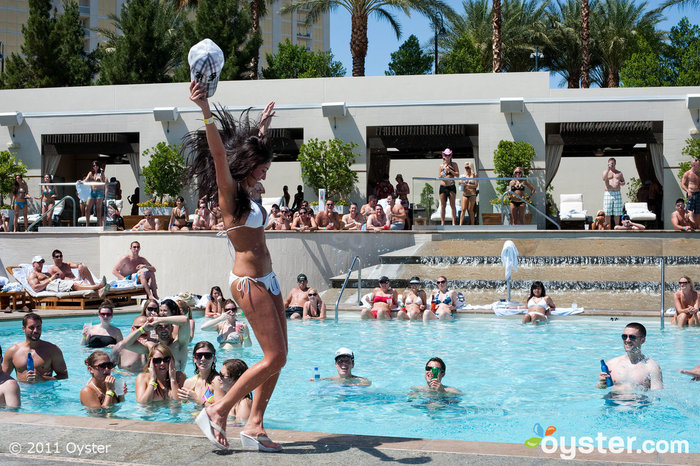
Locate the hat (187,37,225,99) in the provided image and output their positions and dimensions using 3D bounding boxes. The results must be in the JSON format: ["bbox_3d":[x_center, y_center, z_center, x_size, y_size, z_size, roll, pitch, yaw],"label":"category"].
[{"bbox_3d":[-2.183,-2.536,14.285,0.592,0.844,0.468,-5,10,-15],"label":"hat"}]

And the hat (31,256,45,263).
[{"bbox_3d":[-7.942,0.674,23.948,0.364,0.173,0.235,-7,-6,41],"label":"hat"}]

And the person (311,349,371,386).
[{"bbox_3d":[-0.098,2.524,17.959,1.062,0.704,0.466,2,11,3],"label":"person"}]

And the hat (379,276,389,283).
[{"bbox_3d":[0.849,1.117,22.379,0.134,0.150,0.182,18,-12,14],"label":"hat"}]

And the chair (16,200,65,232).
[{"bbox_3d":[-9.163,-0.366,27.465,1.772,0.995,1.219,0,2,-3],"label":"chair"}]

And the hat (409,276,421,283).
[{"bbox_3d":[1.582,1.112,22.116,0.150,0.143,0.196,-1,-3,-16],"label":"hat"}]

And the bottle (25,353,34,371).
[{"bbox_3d":[-5.927,2.389,17.382,0.147,0.290,0.295,-3,12,-18],"label":"bottle"}]

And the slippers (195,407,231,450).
[{"bbox_3d":[-2.024,2.983,14.136,0.248,0.683,0.368,-32,4,35],"label":"slippers"}]

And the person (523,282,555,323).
[{"bbox_3d":[4.383,1.580,21.438,0.680,0.766,0.903,4,11,12],"label":"person"}]

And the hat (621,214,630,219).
[{"bbox_3d":[7.836,-0.465,26.416,0.208,0.142,0.283,2,-1,10],"label":"hat"}]

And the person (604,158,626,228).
[{"bbox_3d":[7.434,-1.181,26.294,0.597,1.953,1.434,4,12,16],"label":"person"}]

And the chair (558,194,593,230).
[{"bbox_3d":[7.430,-0.715,31.008,0.957,1.072,1.555,-2,7,8],"label":"chair"}]

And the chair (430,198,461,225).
[{"bbox_3d":[2.593,-0.555,25.648,0.564,0.684,0.283,4,12,0],"label":"chair"}]

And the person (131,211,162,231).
[{"bbox_3d":[-5.683,-0.255,26.333,0.676,0.637,0.769,0,-6,0],"label":"person"}]

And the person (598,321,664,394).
[{"bbox_3d":[5.405,2.435,17.882,1.358,1.477,0.939,2,0,27],"label":"person"}]

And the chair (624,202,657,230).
[{"bbox_3d":[9.341,-0.546,29.938,0.843,0.768,1.295,0,5,8],"label":"chair"}]

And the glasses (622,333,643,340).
[{"bbox_3d":[5.123,1.864,16.862,0.344,0.134,0.147,5,12,16],"label":"glasses"}]

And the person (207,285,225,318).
[{"bbox_3d":[-3.159,1.677,22.252,0.516,0.722,0.599,0,2,13],"label":"person"}]

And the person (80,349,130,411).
[{"bbox_3d":[-4.456,2.677,16.880,0.887,1.072,0.744,-9,0,-37],"label":"person"}]

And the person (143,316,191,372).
[{"bbox_3d":[-3.374,2.053,17.342,1.025,1.328,0.780,-4,-10,9],"label":"person"}]

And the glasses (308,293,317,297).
[{"bbox_3d":[-0.839,1.441,22.078,0.195,0.112,0.128,1,11,-2],"label":"glasses"}]

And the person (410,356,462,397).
[{"bbox_3d":[1.628,2.733,17.578,1.028,0.794,0.580,5,-3,6],"label":"person"}]

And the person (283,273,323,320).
[{"bbox_3d":[-1.200,1.549,22.502,0.784,0.992,0.949,1,2,17],"label":"person"}]

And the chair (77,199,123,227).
[{"bbox_3d":[-7.162,-0.584,27.811,0.741,0.714,1.187,0,-2,6],"label":"chair"}]

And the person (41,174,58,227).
[{"bbox_3d":[-8.606,-0.860,26.904,0.419,1.398,2.109,-2,12,-18],"label":"person"}]

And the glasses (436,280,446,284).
[{"bbox_3d":[2.169,1.145,21.851,0.165,0.088,0.092,4,11,14],"label":"glasses"}]

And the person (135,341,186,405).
[{"bbox_3d":[-3.462,2.588,17.067,0.869,1.019,0.635,-4,3,-28],"label":"person"}]

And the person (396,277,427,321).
[{"bbox_3d":[1.516,1.609,22.332,0.714,1.395,0.821,3,-24,12],"label":"person"}]

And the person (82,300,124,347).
[{"bbox_3d":[-5.081,1.911,19.289,0.850,1.076,0.697,3,-7,-19],"label":"person"}]

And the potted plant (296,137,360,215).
[{"bbox_3d":[-0.488,-1.884,30.810,2.345,2.616,2.130,0,-3,36],"label":"potted plant"}]

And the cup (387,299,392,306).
[{"bbox_3d":[0.982,1.632,22.235,0.151,0.163,0.115,-2,12,-14],"label":"cup"}]

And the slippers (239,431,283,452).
[{"bbox_3d":[-1.310,3.172,14.203,0.558,0.212,0.289,2,-1,4],"label":"slippers"}]

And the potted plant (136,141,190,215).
[{"bbox_3d":[-6.070,-2.021,31.308,1.388,1.635,1.201,7,23,39],"label":"potted plant"}]

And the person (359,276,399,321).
[{"bbox_3d":[0.696,1.827,22.237,0.731,1.557,1.003,2,2,27],"label":"person"}]

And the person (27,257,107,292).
[{"bbox_3d":[-6.965,1.064,23.108,1.880,0.758,0.817,3,14,9],"label":"person"}]

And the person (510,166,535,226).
[{"bbox_3d":[4.806,-0.895,26.116,0.715,1.294,0.447,-3,12,-19],"label":"person"}]

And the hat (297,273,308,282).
[{"bbox_3d":[-1.128,1.084,22.760,0.197,0.182,0.224,-2,-26,-5],"label":"hat"}]

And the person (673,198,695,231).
[{"bbox_3d":[9.031,-0.498,25.175,0.577,0.786,0.802,4,11,11],"label":"person"}]

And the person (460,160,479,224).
[{"bbox_3d":[3.315,-0.881,25.851,0.508,1.327,0.335,2,11,5],"label":"person"}]

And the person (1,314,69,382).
[{"bbox_3d":[-6.194,2.309,18.388,1.364,1.436,0.831,-1,-2,-24],"label":"person"}]

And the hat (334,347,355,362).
[{"bbox_3d":[-0.061,2.303,17.920,0.272,0.215,0.384,1,-16,11],"label":"hat"}]

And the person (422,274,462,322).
[{"bbox_3d":[2.110,1.703,21.908,0.709,1.311,0.802,-5,-8,40],"label":"person"}]

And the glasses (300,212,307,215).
[{"bbox_3d":[-1.246,-0.574,25.794,0.182,0.111,0.083,4,12,14],"label":"glasses"}]

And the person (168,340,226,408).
[{"bbox_3d":[-2.637,2.507,16.544,0.871,1.056,0.980,-6,-7,29],"label":"person"}]

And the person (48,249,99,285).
[{"bbox_3d":[-6.814,0.987,23.434,1.447,0.995,0.661,2,18,12],"label":"person"}]
